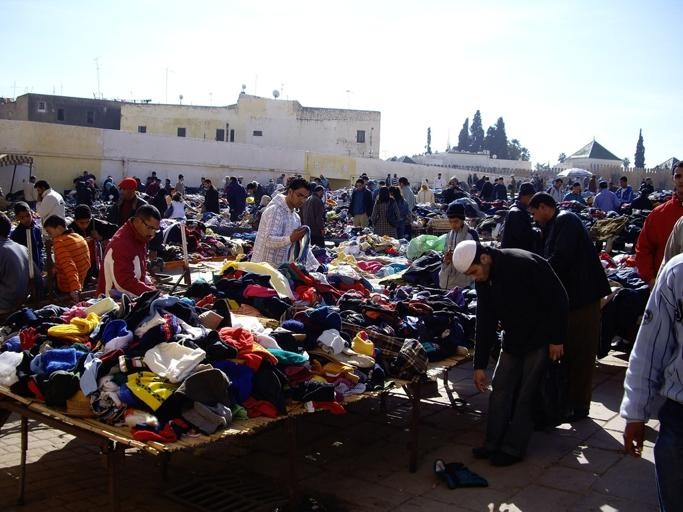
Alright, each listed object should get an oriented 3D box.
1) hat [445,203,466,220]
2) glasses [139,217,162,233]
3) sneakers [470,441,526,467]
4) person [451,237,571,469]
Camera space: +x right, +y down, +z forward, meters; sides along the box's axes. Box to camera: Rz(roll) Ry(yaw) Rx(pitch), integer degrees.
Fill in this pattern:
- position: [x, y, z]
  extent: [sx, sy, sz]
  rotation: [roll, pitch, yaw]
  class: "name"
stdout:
- position: [1.466, -0.558, 7.127]
  extent: [0.211, 0.211, 0.242]
  rotation: [-2, 8, 10]
  class: "hat"
- position: [-1.832, -0.280, 5.304]
  extent: [0.166, 0.177, 0.144]
  rotation: [-13, 6, 13]
  class: "glasses"
- position: [1.297, 1.648, 4.610]
  extent: [0.403, 0.182, 0.142]
  rotation: [-2, 34, 30]
  class: "sneakers"
- position: [1.389, 0.782, 4.508]
  extent: [0.868, 1.833, 0.389]
  rotation: [-1, 8, 13]
  class: "person"
